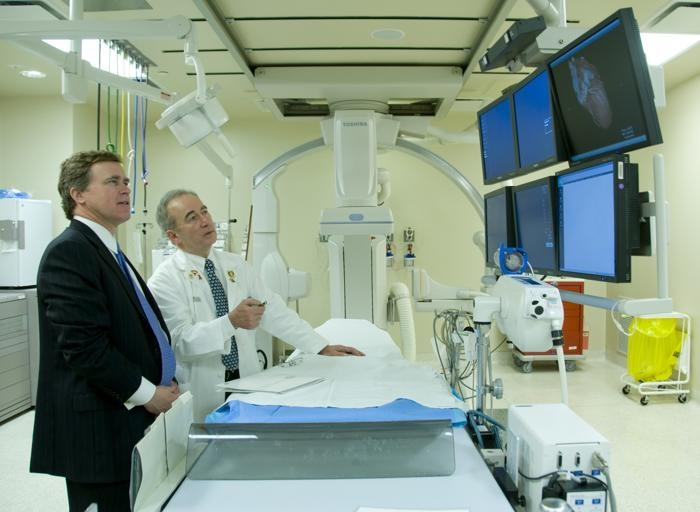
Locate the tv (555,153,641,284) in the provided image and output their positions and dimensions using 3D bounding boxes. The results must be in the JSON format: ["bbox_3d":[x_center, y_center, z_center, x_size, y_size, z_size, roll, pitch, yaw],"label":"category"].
[{"bbox_3d":[1.074,-0.150,2.463,0.176,0.500,0.510,-2,2,-7],"label":"tv"}]

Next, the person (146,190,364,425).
[{"bbox_3d":[-0.562,0.502,3.202,0.986,1.663,0.680,-5,15,-18],"label":"person"}]

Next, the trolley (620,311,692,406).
[{"bbox_3d":[2.665,0.850,4.946,0.519,0.787,0.596,7,9,30],"label":"trolley"}]
